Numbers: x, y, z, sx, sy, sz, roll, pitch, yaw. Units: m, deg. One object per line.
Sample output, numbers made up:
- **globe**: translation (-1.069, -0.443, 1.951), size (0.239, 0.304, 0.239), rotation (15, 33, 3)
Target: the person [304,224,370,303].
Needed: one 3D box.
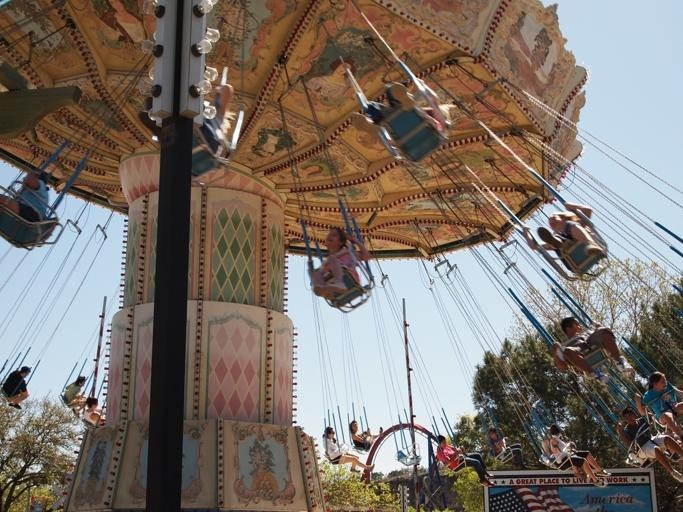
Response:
- **person**: translation (0.051, -0.013, 6.192), size (0.590, 0.644, 0.899), rotation (-33, -53, -21)

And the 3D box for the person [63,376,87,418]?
- **person**: translation (-6.320, 3.286, 11.404), size (0.504, 0.769, 0.326), rotation (28, -36, -27)

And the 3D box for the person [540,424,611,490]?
- **person**: translation (4.610, 3.880, 9.442), size (0.837, 1.127, 0.460), rotation (-22, -15, 40)

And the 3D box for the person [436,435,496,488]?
- **person**: translation (3.740, 6.171, 14.595), size (1.296, 1.701, 0.754), rotation (-24, -12, 18)

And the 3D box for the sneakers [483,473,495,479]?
- **sneakers**: translation (3.153, 4.680, 10.153), size (0.200, 0.148, 0.066), rotation (-16, 1, 43)

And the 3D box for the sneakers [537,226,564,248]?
- **sneakers**: translation (2.143, -0.188, 4.846), size (0.100, 0.294, 0.207), rotation (-56, -32, 5)

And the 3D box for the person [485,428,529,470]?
- **person**: translation (4.354, 5.096, 12.774), size (0.635, 1.213, 0.499), rotation (-24, 2, 16)

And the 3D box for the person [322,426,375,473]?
- **person**: translation (0.016, 5.283, 12.998), size (0.490, 0.793, 1.359), rotation (-23, -42, 20)

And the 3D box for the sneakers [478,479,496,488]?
- **sneakers**: translation (3.169, 4.914, 10.315), size (0.109, 0.141, 0.340), rotation (-11, -5, -40)

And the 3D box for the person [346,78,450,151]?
- **person**: translation (0.656, -1.560, 5.228), size (0.708, 0.978, 0.361), rotation (-35, -4, 17)

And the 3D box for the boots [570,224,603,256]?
- **boots**: translation (2.614, -0.194, 5.093), size (0.225, 0.395, 0.109), rotation (1, -39, -10)

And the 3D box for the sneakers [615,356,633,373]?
- **sneakers**: translation (3.198, 1.228, 5.378), size (0.118, 0.110, 0.256), rotation (-40, -20, 6)
